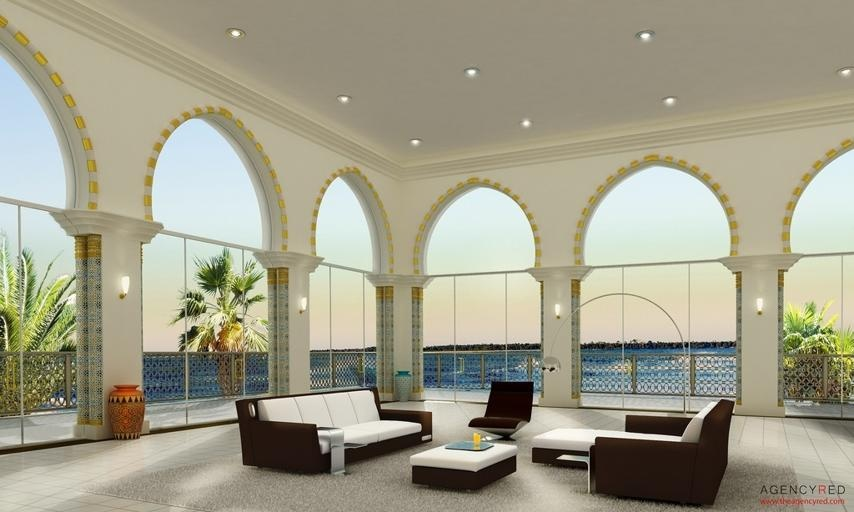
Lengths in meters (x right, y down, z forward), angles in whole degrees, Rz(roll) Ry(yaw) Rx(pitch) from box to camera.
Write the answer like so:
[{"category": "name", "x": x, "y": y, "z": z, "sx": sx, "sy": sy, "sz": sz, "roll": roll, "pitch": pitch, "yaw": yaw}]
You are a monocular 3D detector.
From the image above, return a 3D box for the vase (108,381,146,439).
[{"category": "vase", "x": -5.984, "y": 3.106, "z": 10.695, "sx": 0.622, "sy": 1.110, "sz": 0.313, "roll": 0, "pitch": 2, "yaw": -30}]

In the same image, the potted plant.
[{"category": "potted plant", "x": -5.254, "y": 1.693, "z": 13.911, "sx": 2.056, "sy": 3.668, "sz": 1.189, "roll": 0, "pitch": 2, "yaw": -18}]

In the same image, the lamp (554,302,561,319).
[{"category": "lamp", "x": 3.804, "y": 1.604, "z": 15.657, "sx": 0.194, "sy": 0.431, "sz": 0.087, "roll": 1, "pitch": 2, "yaw": 13}]

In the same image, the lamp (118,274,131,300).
[{"category": "lamp", "x": -6.164, "y": 0.647, "z": 10.929, "sx": 0.179, "sy": 0.472, "sz": 0.063, "roll": 0, "pitch": 2, "yaw": -29}]

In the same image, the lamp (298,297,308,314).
[{"category": "lamp", "x": -3.258, "y": 1.305, "z": 14.157, "sx": 0.093, "sy": 0.414, "sz": 0.295, "roll": 2, "pitch": 2, "yaw": 29}]

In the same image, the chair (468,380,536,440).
[{"category": "chair", "x": 1.624, "y": 3.233, "z": 11.412, "sx": 0.996, "sy": 0.941, "sz": 1.389, "roll": -5, "pitch": -5, "yaw": 26}]

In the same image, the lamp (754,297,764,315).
[{"category": "lamp", "x": 8.665, "y": 1.318, "z": 14.020, "sx": 0.192, "sy": 0.456, "sz": 0.062, "roll": 1, "pitch": 2, "yaw": 8}]
